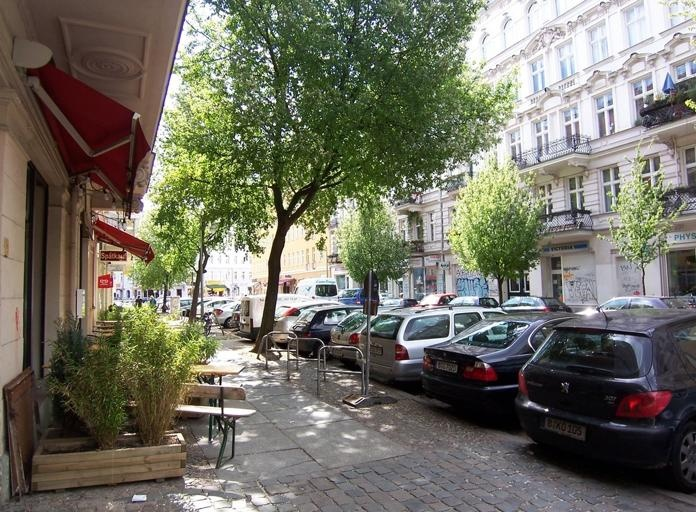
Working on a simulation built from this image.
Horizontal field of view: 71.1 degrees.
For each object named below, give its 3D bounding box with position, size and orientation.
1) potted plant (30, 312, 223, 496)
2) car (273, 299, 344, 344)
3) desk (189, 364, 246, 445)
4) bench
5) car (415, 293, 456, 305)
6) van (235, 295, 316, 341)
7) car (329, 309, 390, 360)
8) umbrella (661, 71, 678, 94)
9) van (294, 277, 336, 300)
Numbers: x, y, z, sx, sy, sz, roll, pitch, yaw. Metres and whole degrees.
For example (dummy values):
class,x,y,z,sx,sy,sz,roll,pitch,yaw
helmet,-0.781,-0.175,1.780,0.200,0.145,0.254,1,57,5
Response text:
class,x,y,z,sx,sy,sz,roll,pitch,yaw
potted plant,-2.992,1.836,6.558,1.789,1.816,2.264,1,1,-21
car,-1.679,2.450,18.577,2.816,1.205,1.425,-3,-1,-29
desk,-2.259,2.371,7.904,0.927,0.882,1.070,19,-26,-35
bench,-2.056,2.325,6.722,1.351,0.876,0.485,-9,3,37
car,5.091,2.525,27.716,2.177,1.152,1.376,1,-4,8
van,-2.877,2.460,21.089,3.456,1.796,1.966,-5,2,-26
car,0.510,2.174,13.344,1.913,1.001,1.067,-4,2,-36
umbrella,15.608,-8.386,23.532,0.508,1.182,0.977,2,1,28
van,-2.073,2.211,32.029,2.340,1.291,1.257,7,-7,-43
